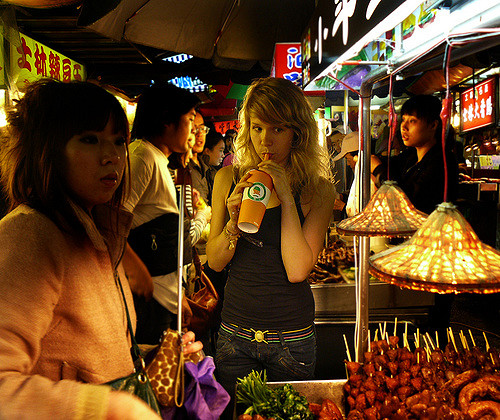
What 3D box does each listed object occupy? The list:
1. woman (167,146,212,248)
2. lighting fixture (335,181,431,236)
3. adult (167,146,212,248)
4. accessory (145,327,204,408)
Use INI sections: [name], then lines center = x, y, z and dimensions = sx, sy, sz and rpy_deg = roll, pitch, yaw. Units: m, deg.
[woman]
center = -0.473, -0.115, 3.680
dimensions = 0.297, 0.905, 0.650
rpy_deg = -10, -6, 36
[lighting fixture]
center = 0.636, 0.025, 1.871
dimensions = 0.296, 0.141, 0.291
rpy_deg = -9, 8, -33
[adult]
center = -0.460, -0.148, 3.662
dimensions = 0.297, 0.905, 0.650
rpy_deg = -10, -6, 36
[accessory]
center = -0.335, 0.673, 1.679
dimensions = 0.190, 0.296, 0.102
rpy_deg = 21, -31, -30
